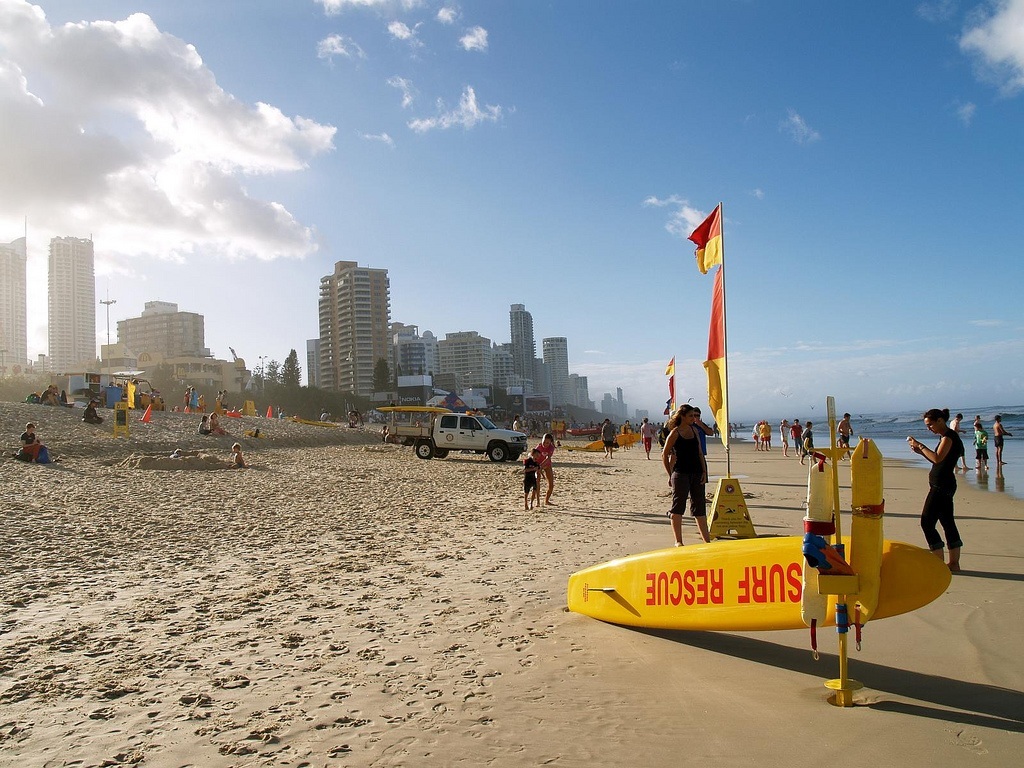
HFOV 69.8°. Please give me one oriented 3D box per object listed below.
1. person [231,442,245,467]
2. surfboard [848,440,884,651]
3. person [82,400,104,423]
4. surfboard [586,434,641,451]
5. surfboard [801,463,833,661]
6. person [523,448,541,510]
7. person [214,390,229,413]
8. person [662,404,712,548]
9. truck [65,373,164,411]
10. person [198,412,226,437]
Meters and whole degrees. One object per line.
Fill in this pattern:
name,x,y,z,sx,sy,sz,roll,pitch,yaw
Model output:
person,-8.527,2.186,22.796,0.472,0.788,0.527,-5,-15,-19
surfboard,2.853,1.185,5.908,0.419,1.585,0.229,-8,10,-39
person,-17.338,1.125,30.340,0.631,0.849,0.741,0,2,25
surfboard,5.744,3.205,40.459,1.580,0.732,2.900,-7,-1,8
surfboard,2.513,1.454,5.977,0.264,1.782,0.392,2,8,22
person,0.384,1.877,14.138,0.320,1.127,0.906,-1,8,1
person,-14.804,0.995,37.412,0.482,1.307,1.534,-5,9,-27
person,2.296,1.177,9.485,0.567,1.758,0.384,-2,-4,13
truck,-20.113,0.362,36.860,2.837,1.564,2.341,-3,-3,3
person,-12.153,1.665,29.843,0.570,0.880,1.347,3,3,15
